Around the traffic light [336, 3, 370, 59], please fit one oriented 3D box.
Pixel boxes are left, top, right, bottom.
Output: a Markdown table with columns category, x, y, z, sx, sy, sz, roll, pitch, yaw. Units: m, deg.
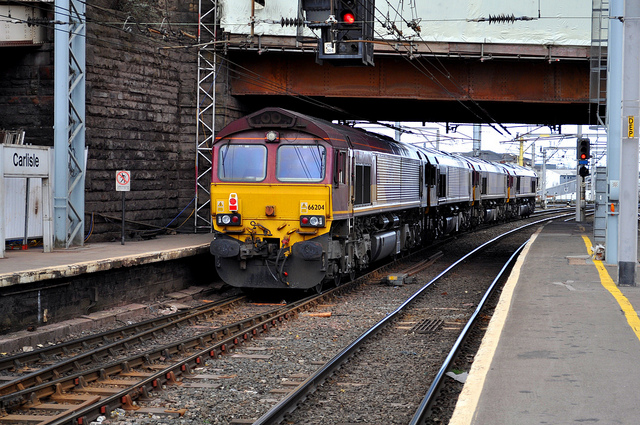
| category | x | y | z | sx | sy | sz | roll | pitch | yaw |
| --- | --- | --- | --- | --- | --- | --- | --- | --- | --- |
| traffic light | 0.893 | -4.643 | 15.042 | 1.004 | 1.454 | 0.545 | -1 | 8 | -29 |

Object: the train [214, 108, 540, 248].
| category | x | y | z | sx | sy | sz | roll | pitch | yaw |
| --- | --- | --- | --- | --- | --- | --- | --- | --- | --- |
| train | 4.103 | -1.091 | 25.069 | 4.233 | 3.281 | 24.163 | 2 | 3 | 27 |

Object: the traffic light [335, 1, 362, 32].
| category | x | y | z | sx | sy | sz | roll | pitch | yaw |
| --- | --- | --- | --- | --- | --- | --- | --- | --- | --- |
| traffic light | 0.776 | -5.004 | 14.942 | 0.798 | 0.797 | 0.567 | 1 | 7 | -16 |

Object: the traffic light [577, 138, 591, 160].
| category | x | y | z | sx | sy | sz | roll | pitch | yaw |
| --- | --- | --- | --- | --- | --- | --- | --- | --- | --- |
| traffic light | 13.190 | -3.141 | 29.172 | 0.490 | 1.032 | 0.864 | 6 | 8 | 26 |
